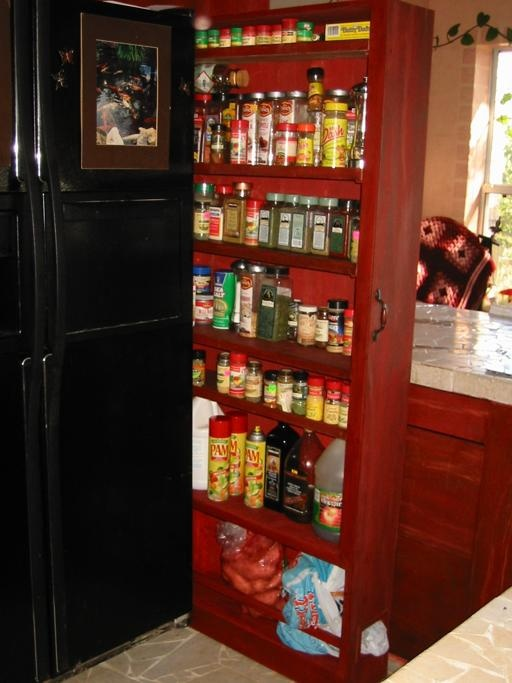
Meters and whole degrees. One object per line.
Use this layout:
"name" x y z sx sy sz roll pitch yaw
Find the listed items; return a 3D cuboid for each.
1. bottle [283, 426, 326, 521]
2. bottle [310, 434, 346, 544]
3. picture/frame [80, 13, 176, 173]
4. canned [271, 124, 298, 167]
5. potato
"bottle" 0.163 0.432 1.834 0.144 0.300 0.148 2 5 0
"bottle" 0.211 0.447 1.666 0.084 0.287 0.182 3 13 6
"picture/frame" -0.336 -0.648 1.446 0.015 0.443 0.386 10 16 34
"canned" 0.088 -0.566 1.637 0.076 0.114 0.079 8 15 24
"potato" -0.001 0.797 1.937 0.181 0.245 0.088 -22 -24 24
